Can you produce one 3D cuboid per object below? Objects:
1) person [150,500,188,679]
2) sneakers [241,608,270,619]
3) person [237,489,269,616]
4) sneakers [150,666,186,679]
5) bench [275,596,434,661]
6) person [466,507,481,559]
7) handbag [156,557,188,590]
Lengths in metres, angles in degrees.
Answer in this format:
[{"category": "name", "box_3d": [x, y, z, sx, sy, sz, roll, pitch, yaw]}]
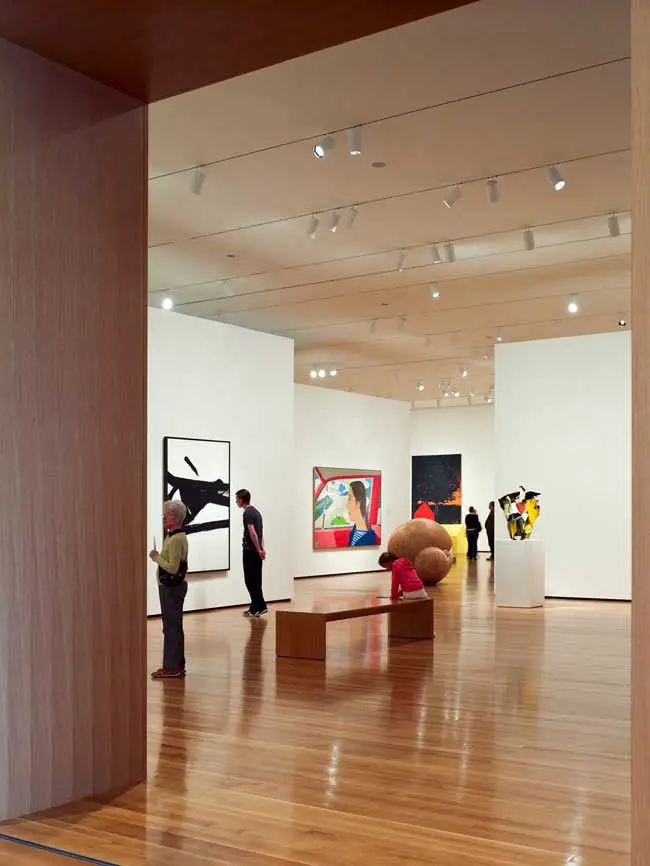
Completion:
[{"category": "person", "box_3d": [-1.361, 1.369, 5.854, 0.299, 1.540, 0.659, 1, -1, -12]}, {"category": "sneakers", "box_3d": [-1.012, 2.601, 9.625, 0.398, 0.181, 0.141, 3, -3, 13]}, {"category": "person", "box_3d": [-1.027, 1.706, 9.464, 0.387, 1.823, 0.770, 0, -1, -5]}, {"category": "sneakers", "box_3d": [-1.363, 2.071, 5.841, 0.228, 0.103, 0.114, 5, -10, -3]}, {"category": "bench", "box_3d": [0.349, 2.116, 7.376, 0.836, 0.615, 2.038, -1, -2, 40]}, {"category": "person", "box_3d": [4.810, 3.251, 21.871, 0.435, 1.637, 1.017, 0, -1, 12]}, {"category": "handbag", "box_3d": [-1.347, 1.246, 5.903, 0.240, 0.240, 0.178, -1, 5, -12]}]
